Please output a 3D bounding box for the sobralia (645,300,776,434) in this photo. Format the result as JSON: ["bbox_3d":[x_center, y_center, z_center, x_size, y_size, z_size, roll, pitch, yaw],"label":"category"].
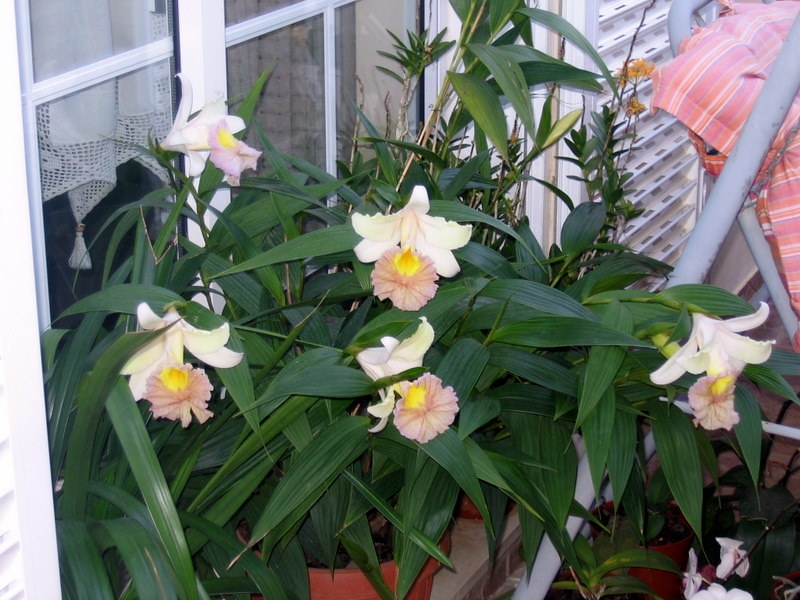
[{"bbox_3d":[0.497,0.099,1.085,0.213,0.252,0.126,-1,24,2],"label":"sobralia"}]

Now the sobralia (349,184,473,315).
[{"bbox_3d":[0.022,-0.094,1.031,0.185,0.060,0.231,-9,66,-4],"label":"sobralia"}]

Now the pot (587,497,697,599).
[{"bbox_3d":[0.639,0.709,1.766,0.236,0.234,0.241,-1,26,1],"label":"pot"}]

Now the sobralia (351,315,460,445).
[{"bbox_3d":[0.017,0.131,1.025,0.073,0.203,0.198,21,64,-18],"label":"sobralia"}]

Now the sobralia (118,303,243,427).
[{"bbox_3d":[-0.300,0.088,0.968,0.149,0.184,0.114,-2,8,31],"label":"sobralia"}]

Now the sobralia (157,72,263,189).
[{"bbox_3d":[-0.329,-0.304,1.184,0.166,0.182,0.133,9,27,22],"label":"sobralia"}]
